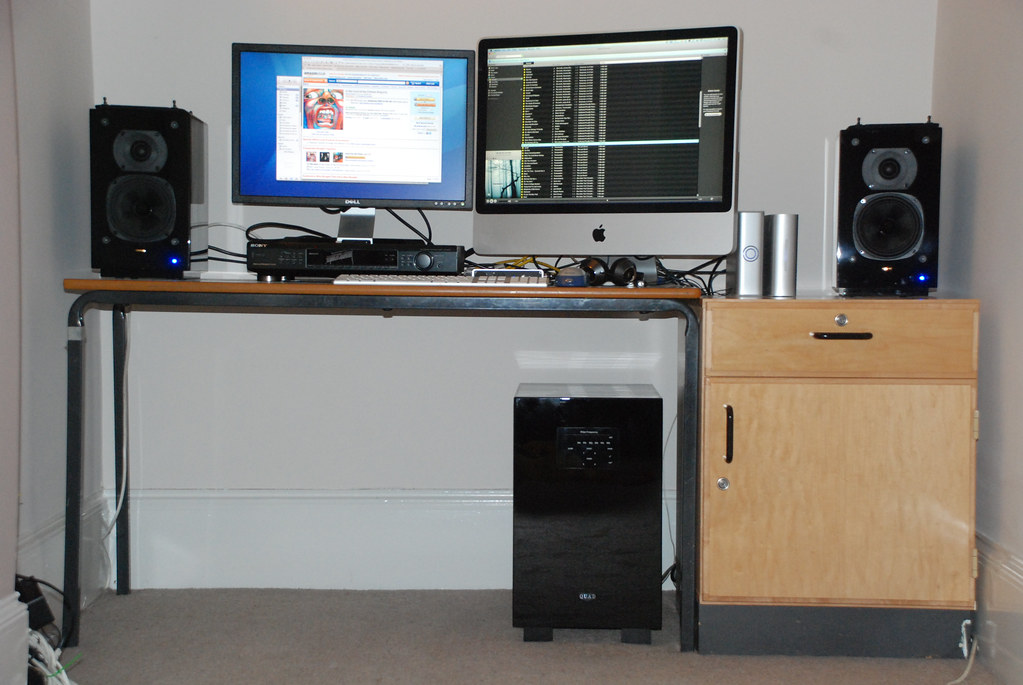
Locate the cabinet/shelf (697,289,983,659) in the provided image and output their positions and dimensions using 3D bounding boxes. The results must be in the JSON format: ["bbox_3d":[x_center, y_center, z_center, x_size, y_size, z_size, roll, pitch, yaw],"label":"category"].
[{"bbox_3d":[0.980,0.375,3.269,0.868,1.073,0.656,0,3,-5],"label":"cabinet/shelf"}]

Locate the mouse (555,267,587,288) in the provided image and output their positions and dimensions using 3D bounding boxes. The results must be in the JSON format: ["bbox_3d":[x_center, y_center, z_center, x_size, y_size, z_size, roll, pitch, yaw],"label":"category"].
[{"bbox_3d":[0.181,-0.201,3.105,0.073,0.050,0.071,0,-1,4],"label":"mouse"}]

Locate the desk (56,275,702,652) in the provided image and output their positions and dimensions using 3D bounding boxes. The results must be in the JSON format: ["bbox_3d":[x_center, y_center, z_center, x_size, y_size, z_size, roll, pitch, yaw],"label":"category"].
[{"bbox_3d":[-0.468,0.349,3.335,1.804,1.100,0.601,2,3,-7],"label":"desk"}]

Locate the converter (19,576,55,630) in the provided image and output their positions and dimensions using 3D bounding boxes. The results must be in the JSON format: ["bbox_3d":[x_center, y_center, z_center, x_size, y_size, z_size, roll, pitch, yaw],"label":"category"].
[{"bbox_3d":[-1.405,0.767,2.972,0.088,0.160,0.077,-4,7,-26],"label":"converter"}]

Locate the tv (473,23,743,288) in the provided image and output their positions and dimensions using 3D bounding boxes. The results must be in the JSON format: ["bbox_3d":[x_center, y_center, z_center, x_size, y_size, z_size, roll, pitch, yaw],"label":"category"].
[{"bbox_3d":[0.304,-0.607,3.220,0.845,0.711,0.090,2,1,4],"label":"tv"}]

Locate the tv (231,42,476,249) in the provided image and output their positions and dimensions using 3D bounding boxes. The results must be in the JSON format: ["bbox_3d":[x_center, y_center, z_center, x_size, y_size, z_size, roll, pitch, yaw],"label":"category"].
[{"bbox_3d":[-0.516,-0.676,3.277,0.718,0.484,0.054,1,2,-2],"label":"tv"}]
